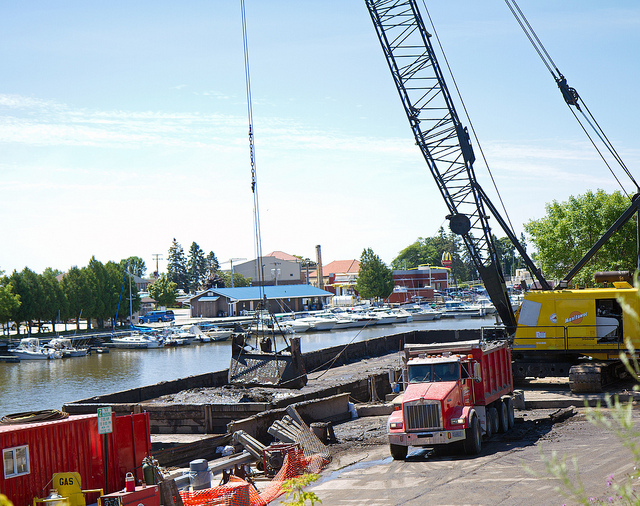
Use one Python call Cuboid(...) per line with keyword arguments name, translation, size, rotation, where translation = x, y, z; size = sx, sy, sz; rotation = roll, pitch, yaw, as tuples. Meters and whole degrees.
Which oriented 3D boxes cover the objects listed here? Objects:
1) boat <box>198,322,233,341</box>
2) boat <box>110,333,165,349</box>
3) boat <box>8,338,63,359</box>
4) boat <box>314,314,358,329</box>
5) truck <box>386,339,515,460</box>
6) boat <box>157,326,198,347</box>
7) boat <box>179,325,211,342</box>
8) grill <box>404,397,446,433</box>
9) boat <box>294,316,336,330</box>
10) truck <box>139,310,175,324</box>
Cuboid(name="boat", translation=(-11.161, 8.071, 93.604), size=(5.011, 1.749, 1.498), rotation=(4, 11, 42))
Cuboid(name="boat", translation=(-17.415, 8.622, 87.099), size=(5.166, 1.513, 1.831), rotation=(0, -4, 16))
Cuboid(name="boat", translation=(-24.472, 8.524, 78.800), size=(4.163, 1.589, 1.969), rotation=(5, -1, 14))
Cuboid(name="boat", translation=(1.266, 7.811, 102.013), size=(4.885, 1.231, 1.588), rotation=(2, 8, 30))
Cuboid(name="truck", translation=(4.551, 4.620, 30.797), size=(2.541, 2.737, 5.443), rotation=(-4, -6, 20))
Cuboid(name="boat", translation=(-13.949, 8.197, 89.712), size=(3.464, 1.953, 2.075), rotation=(0, -12, -32))
Cuboid(name="boat", translation=(-12.545, 8.030, 91.959), size=(3.187, 1.231, 1.811), rotation=(-1, -2, 42))
Cuboid(name="grill", translation=(3.387, 5.038, 28.743), size=(1.321, 1.085, 0.775), rotation=(-8, -3, 25))
Cuboid(name="boat", translation=(-0.767, 7.792, 99.349), size=(3.971, 1.114, 1.614), rotation=(-4, 3, 29))
Cuboid(name="truck", translation=(-22.117, 8.617, 124.159), size=(3.416, 1.386, 2.034), rotation=(3, -2, -5))
